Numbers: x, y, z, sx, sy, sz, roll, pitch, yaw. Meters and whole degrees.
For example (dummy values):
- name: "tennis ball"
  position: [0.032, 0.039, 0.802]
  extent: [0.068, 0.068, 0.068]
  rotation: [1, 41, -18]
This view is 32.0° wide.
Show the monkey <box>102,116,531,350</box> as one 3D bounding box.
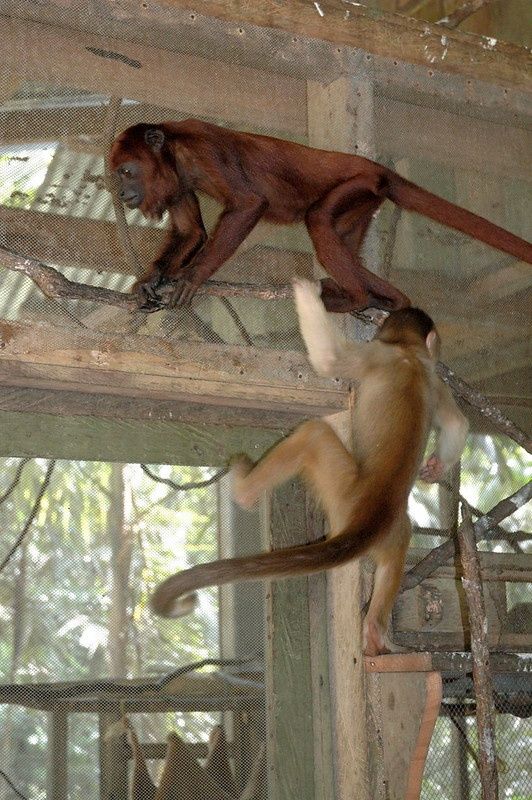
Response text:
- name: "monkey"
  position: [0.298, -0.469, 2.582]
  extent: [1.453, 0.425, 0.305]
  rotation: [1, -5, -26]
